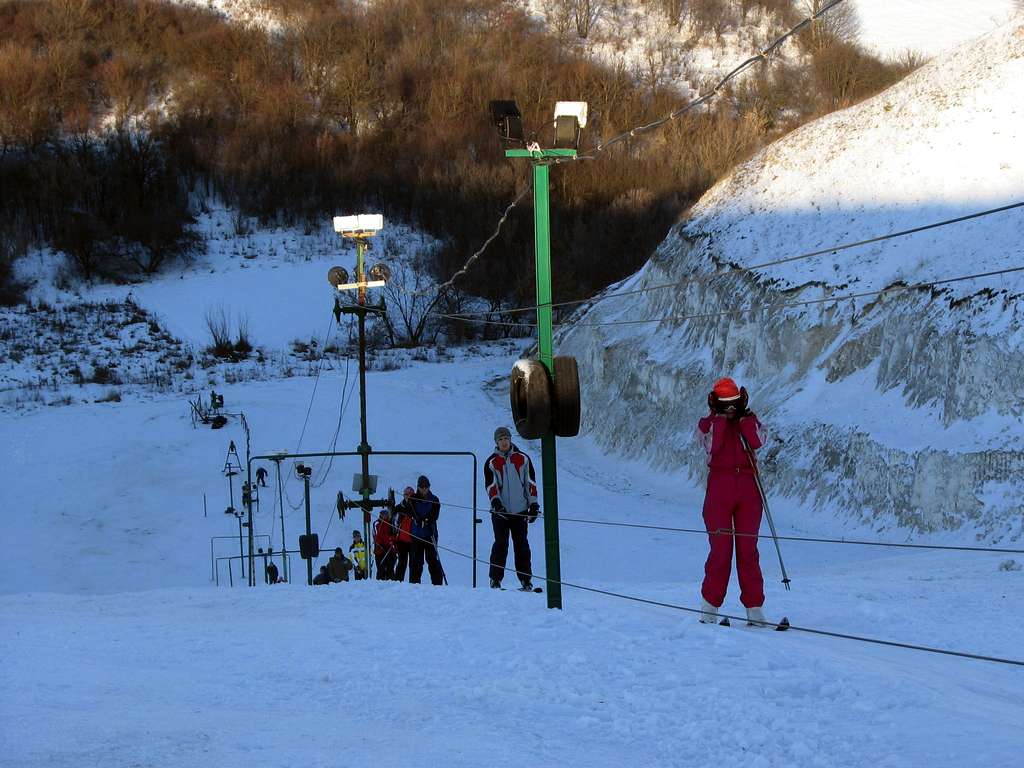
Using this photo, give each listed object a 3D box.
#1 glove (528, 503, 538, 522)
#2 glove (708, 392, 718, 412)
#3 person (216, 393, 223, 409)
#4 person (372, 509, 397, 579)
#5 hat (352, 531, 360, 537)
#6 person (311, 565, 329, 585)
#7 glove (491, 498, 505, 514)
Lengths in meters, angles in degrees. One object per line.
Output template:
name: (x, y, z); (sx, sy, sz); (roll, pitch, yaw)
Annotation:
glove: (0.690, 4.341, 72.721); (0.311, 0.662, 0.629); (-1, 2, -26)
glove: (6.634, 0.622, 70.367); (0.355, 0.528, 0.469); (4, 39, -6)
person: (-12.870, 0.630, 93.948); (0.346, 0.557, 1.128); (-1, 2, -8)
person: (-4.567, 5.833, 76.285); (0.775, 3.007, 0.762); (1, 23, 1)
hat: (-5.805, 5.585, 79.469); (0.240, 0.337, 0.342); (-1, -13, -9)
person: (-7.179, 7.162, 79.777); (0.664, 1.388, 0.684); (2, -5, -7)
glove: (-0.482, 4.148, 72.620); (0.305, 0.605, 0.550); (1, -8, -7)
